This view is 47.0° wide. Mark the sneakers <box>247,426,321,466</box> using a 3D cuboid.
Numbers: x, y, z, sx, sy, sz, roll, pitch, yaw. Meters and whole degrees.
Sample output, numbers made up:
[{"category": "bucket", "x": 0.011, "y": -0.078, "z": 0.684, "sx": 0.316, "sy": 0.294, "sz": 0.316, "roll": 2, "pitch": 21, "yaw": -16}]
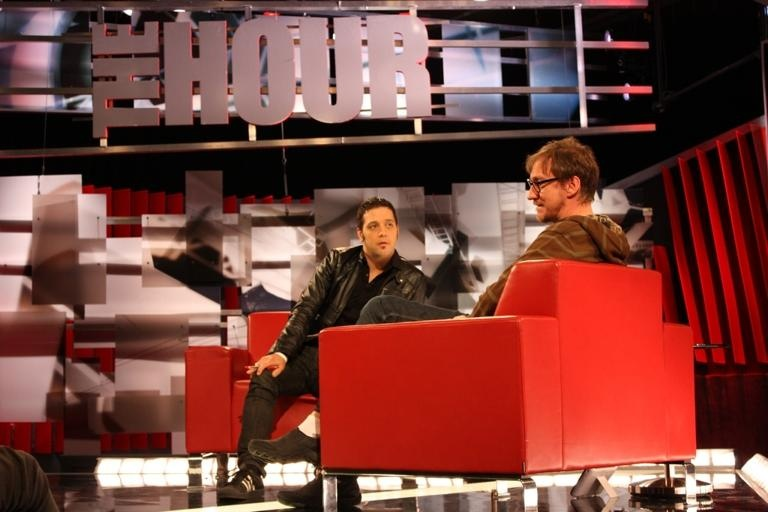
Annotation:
[{"category": "sneakers", "x": -0.578, "y": 1.186, "z": 5.470, "sx": 0.503, "sy": 0.209, "sz": 0.167, "roll": 6, "pitch": -50, "yaw": -1}]

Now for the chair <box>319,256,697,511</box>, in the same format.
[{"category": "chair", "x": 0.745, "y": 0.673, "z": 5.126, "sx": 1.460, "sy": 1.410, "sz": 2.137, "roll": -3, "pitch": -5, "yaw": 43}]

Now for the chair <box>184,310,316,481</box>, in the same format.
[{"category": "chair", "x": -1.035, "y": 1.024, "z": 6.562, "sx": 1.198, "sy": 1.460, "sz": 1.133, "roll": 0, "pitch": -8, "yaw": 4}]

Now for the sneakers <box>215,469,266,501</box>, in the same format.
[{"category": "sneakers", "x": -0.871, "y": 1.447, "z": 5.592, "sx": 0.343, "sy": 0.190, "sz": 0.178, "roll": 6, "pitch": -11, "yaw": -27}]
